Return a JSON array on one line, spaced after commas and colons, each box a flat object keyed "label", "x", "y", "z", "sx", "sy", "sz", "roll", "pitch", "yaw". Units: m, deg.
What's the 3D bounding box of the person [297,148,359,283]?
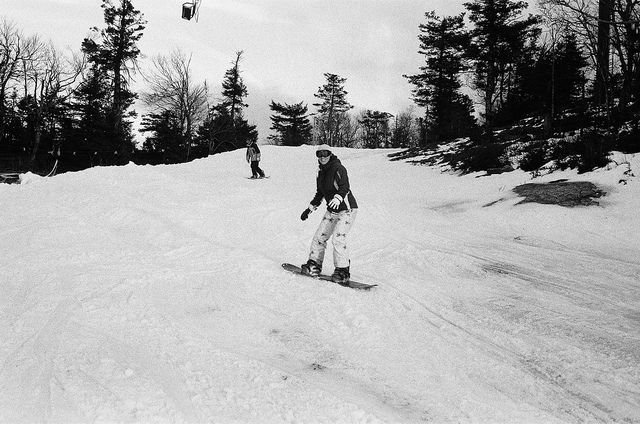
[{"label": "person", "x": 0.231, "y": 0.064, "z": 10.388, "sx": 1.098, "sy": 2.931, "sz": 0.639, "roll": 1, "pitch": 9, "yaw": 19}]

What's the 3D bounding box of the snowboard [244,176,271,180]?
[{"label": "snowboard", "x": -2.856, "y": -1.538, "z": 21.329, "sx": 1.207, "sy": 0.135, "sz": 0.168, "roll": -3, "pitch": 2, "yaw": -37}]

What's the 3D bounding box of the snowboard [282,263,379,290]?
[{"label": "snowboard", "x": 0.191, "y": 1.453, "z": 10.457, "sx": 1.863, "sy": 0.092, "sz": 0.265, "roll": 10, "pitch": 19, "yaw": 23}]
